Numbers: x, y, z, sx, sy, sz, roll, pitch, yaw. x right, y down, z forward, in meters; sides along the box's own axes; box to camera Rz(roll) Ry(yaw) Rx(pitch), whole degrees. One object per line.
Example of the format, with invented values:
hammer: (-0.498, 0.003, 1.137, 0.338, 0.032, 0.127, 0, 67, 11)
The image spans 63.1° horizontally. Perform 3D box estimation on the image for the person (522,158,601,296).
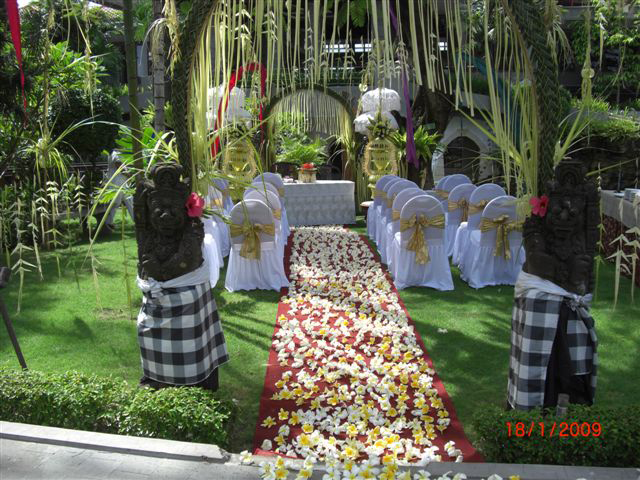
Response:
person: (1.568, -0.009, 3.370, 0.399, 0.999, 0.225, 9, 30, 33)

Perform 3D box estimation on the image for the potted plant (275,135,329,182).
potted plant: (-0.430, -2.003, 12.175, 1.064, 0.957, 1.220, 1, 4, -2)

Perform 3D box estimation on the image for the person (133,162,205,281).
person: (-1.069, -0.013, 3.638, 0.414, 1.048, 0.287, 0, 19, -13)
